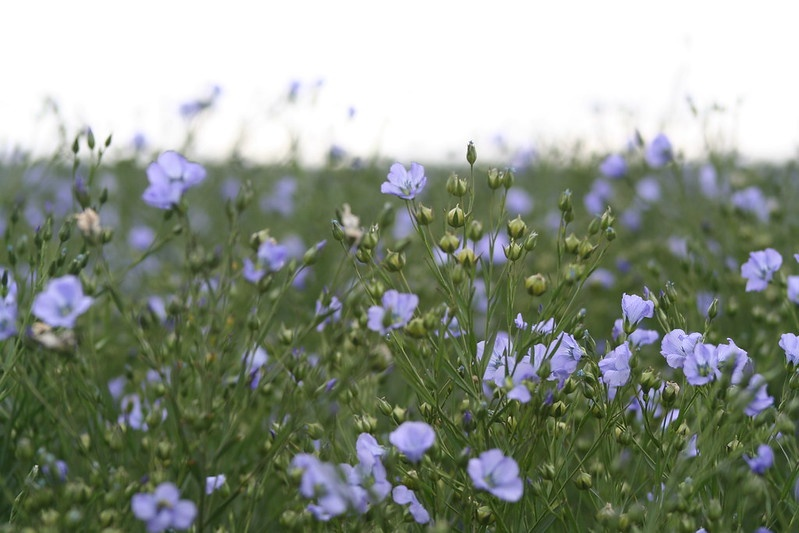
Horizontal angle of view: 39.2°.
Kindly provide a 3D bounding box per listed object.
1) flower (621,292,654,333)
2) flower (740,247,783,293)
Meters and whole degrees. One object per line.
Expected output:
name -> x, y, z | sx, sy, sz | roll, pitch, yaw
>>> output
flower -> 1.148, 0.241, 5.560 | 0.159, 0.212, 0.180 | 2, 3, 19
flower -> 1.806, 0.003, 5.545 | 0.169, 0.100, 0.199 | 9, 13, 29
